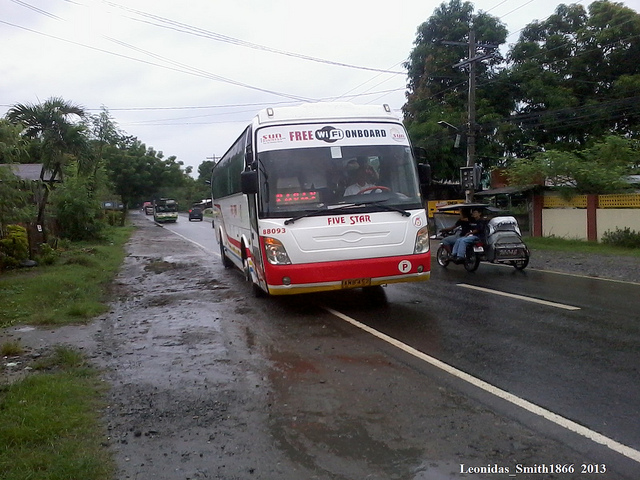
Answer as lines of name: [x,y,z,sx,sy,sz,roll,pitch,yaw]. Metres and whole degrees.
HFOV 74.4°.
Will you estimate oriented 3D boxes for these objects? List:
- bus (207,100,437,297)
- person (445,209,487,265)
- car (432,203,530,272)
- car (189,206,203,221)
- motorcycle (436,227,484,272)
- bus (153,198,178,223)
bus: [-0.190,-0.697,8.814,3.161,3.879,4.151,-4,5,-19]
person: [4.253,-0.116,12.032,1.004,1.513,0.527,-1,4,16]
car: [4.872,-0.271,13.055,2.252,1.952,3.375,-3,5,-11]
car: [-17.141,-3.750,57.828,1.572,1.465,2.803,-1,16,-15]
motorcycle: [4.103,0.226,12.466,0.839,1.205,1.804,-3,4,-25]
bus: [-18.901,-3.586,51.190,1.879,2.042,3.644,-1,-1,-22]
